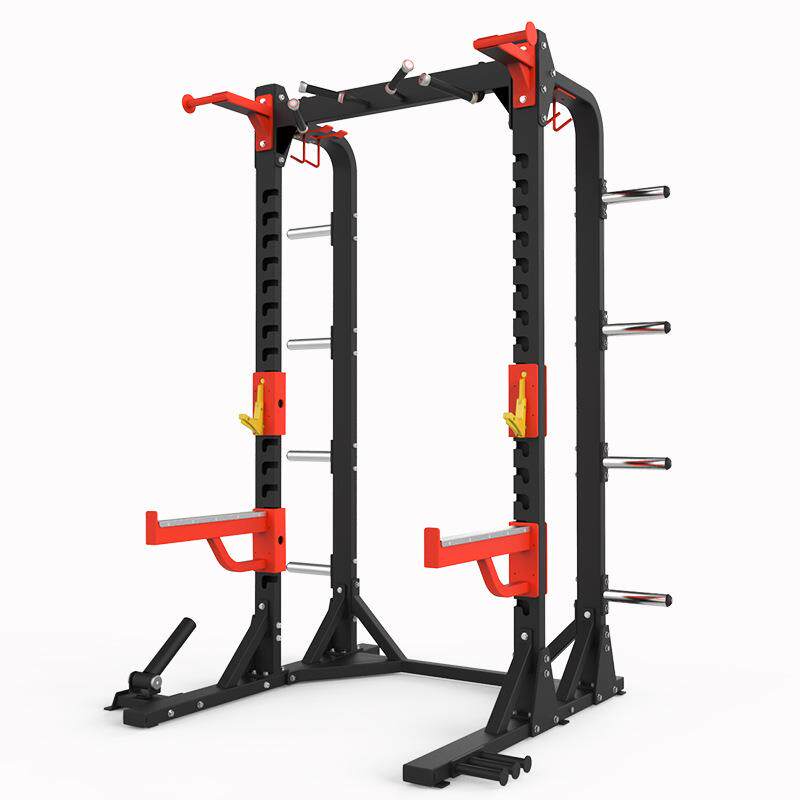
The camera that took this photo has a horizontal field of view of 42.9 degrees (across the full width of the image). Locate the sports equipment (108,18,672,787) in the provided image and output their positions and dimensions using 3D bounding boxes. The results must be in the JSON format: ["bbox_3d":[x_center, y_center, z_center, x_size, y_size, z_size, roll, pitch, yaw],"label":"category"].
[{"bbox_3d":[0.080,-0.090,4.181,1.658,2.681,1.478,0,-1,37],"label":"sports equipment"}]
